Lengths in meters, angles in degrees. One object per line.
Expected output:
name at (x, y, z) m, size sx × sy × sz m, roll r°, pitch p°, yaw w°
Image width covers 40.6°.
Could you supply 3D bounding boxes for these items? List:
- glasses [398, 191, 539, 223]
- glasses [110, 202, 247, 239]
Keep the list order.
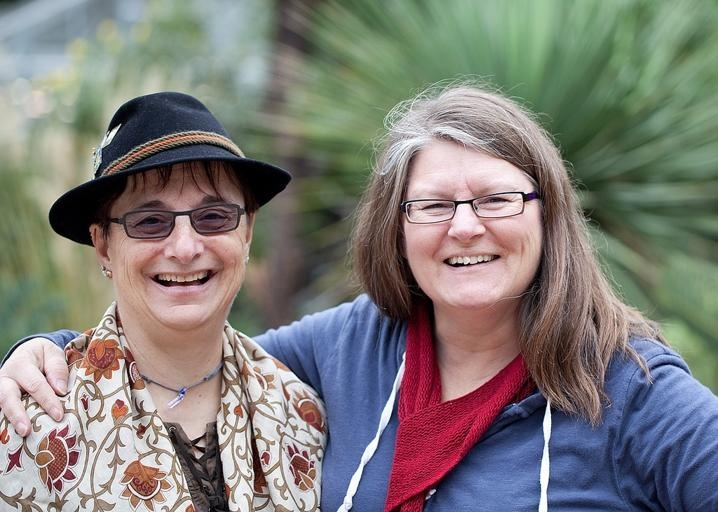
glasses at (0.463, -0.211, 4.273) m, size 0.521 × 0.144 × 0.065 m, roll 0°, pitch -13°, yaw 9°
glasses at (-0.803, -0.151, 4.193) m, size 0.562 × 0.192 × 0.089 m, roll 4°, pitch -13°, yaw -6°
